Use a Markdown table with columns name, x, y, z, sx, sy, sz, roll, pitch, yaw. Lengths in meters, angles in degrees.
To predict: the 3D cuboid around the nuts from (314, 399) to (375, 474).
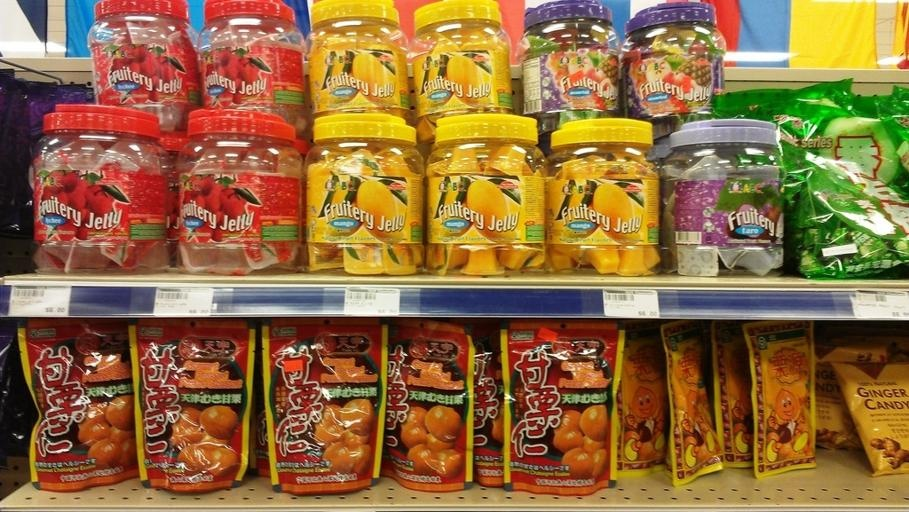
| name | x | y | z | sx | sy | sz | roll | pitch | yaw |
| --- | --- | --- | --- | --- | --- | --- | --- | --- | --- |
| nuts | -0.421 | 0.690 | 2.442 | 0.325 | 0.228 | 0.095 | 4 | -3 | -6 |
